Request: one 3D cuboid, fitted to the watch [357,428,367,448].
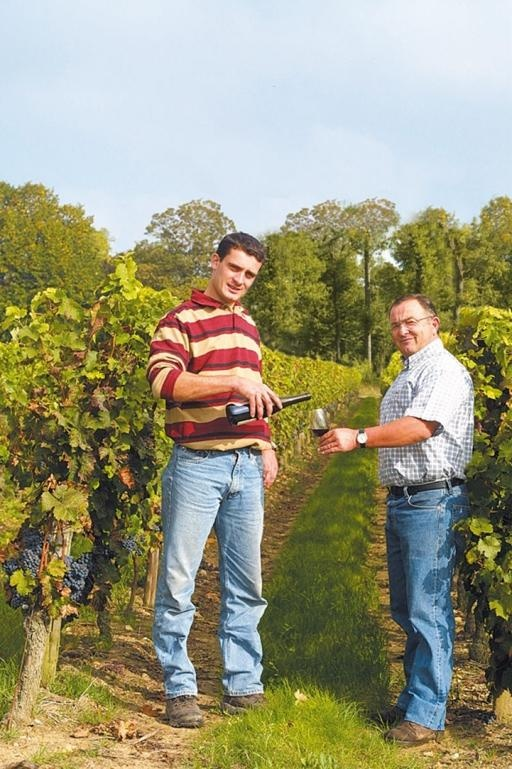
[{"bbox_3d":[0.492,0.252,3.781,0.056,0.084,0.083,1,0,16],"label":"watch"}]

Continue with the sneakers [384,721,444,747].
[{"bbox_3d":[0.760,1.613,3.823,0.298,0.107,0.104,6,-9,-9],"label":"sneakers"}]

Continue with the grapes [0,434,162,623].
[{"bbox_3d":[-0.880,0.690,4.433,0.791,1.028,0.430,9,-9,-16],"label":"grapes"}]

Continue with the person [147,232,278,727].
[{"bbox_3d":[-0.213,0.423,3.972,0.626,2.365,0.875,3,-6,14],"label":"person"}]

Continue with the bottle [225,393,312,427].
[{"bbox_3d":[0.042,0.106,3.743,0.209,0.178,0.493,0,-7,37],"label":"bottle"}]

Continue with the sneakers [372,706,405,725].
[{"bbox_3d":[0.649,1.618,4.025,0.160,0.062,0.065,7,1,-1],"label":"sneakers"}]

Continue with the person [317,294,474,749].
[{"bbox_3d":[0.712,0.601,3.964,0.473,2.157,0.709,-1,-8,43],"label":"person"}]

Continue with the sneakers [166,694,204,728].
[{"bbox_3d":[-0.330,1.514,3.802,0.177,0.143,0.127,4,-6,5],"label":"sneakers"}]

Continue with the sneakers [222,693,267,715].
[{"bbox_3d":[-0.053,1.541,3.962,0.167,0.105,0.093,-13,-8,14],"label":"sneakers"}]
